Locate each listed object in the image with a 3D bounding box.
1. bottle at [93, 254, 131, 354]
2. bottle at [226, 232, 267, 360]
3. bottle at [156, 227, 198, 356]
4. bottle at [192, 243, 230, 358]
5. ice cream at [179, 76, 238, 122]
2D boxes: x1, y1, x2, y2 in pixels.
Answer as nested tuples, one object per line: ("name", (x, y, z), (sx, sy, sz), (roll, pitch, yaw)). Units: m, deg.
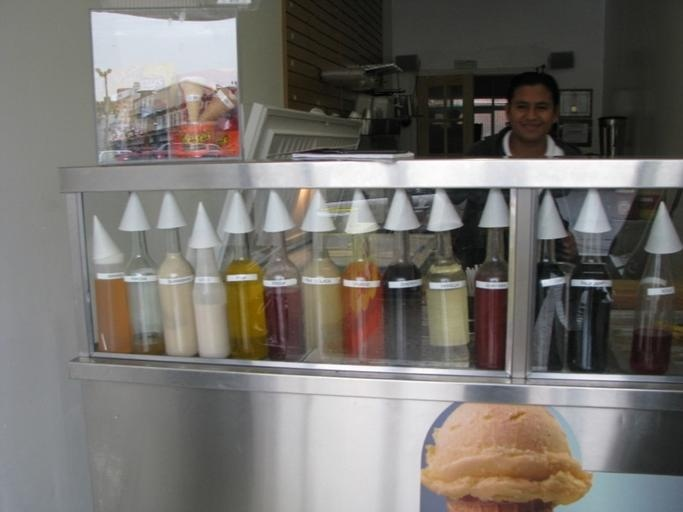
("bottle", (-0.709, 0.157, 1.944), (0.114, 0.281, 0.059), (-2, 5, -2))
("bottle", (-0.284, 0.119, 1.877), (0.112, 0.373, 0.043), (0, 5, 18))
("bottle", (-0.494, 0.111, 1.907), (0.101, 0.387, 0.056), (-2, 5, -2))
("bottle", (-0.391, 0.140, 1.886), (0.096, 0.333, 0.042), (-1, 5, 5))
("ice cream", (-0.348, -0.447, 1.807), (0.238, 0.075, 0.105), (8, 23, 20))
